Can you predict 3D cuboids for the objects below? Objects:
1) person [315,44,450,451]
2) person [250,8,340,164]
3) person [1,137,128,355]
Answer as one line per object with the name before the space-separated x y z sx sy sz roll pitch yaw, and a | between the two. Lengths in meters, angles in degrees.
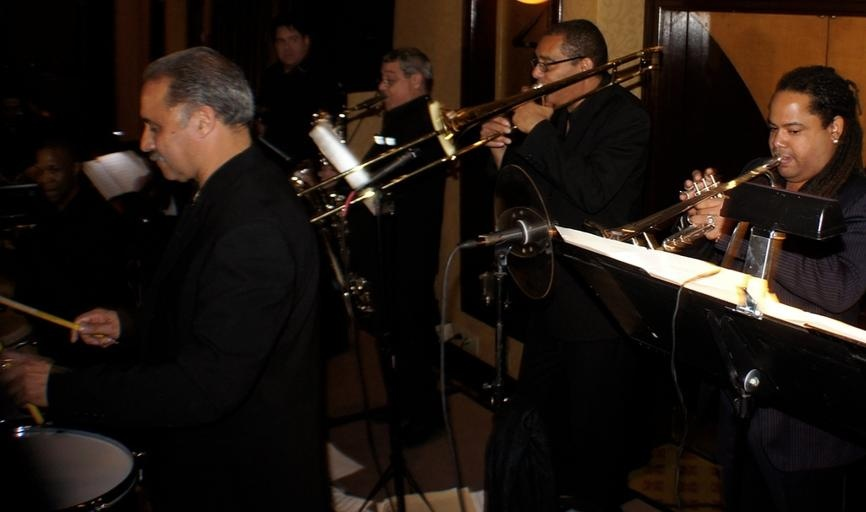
person | -0.191 -0.196 4.568 0.937 2.218 1.066 2 -2 8
person | -0.947 -1.140 4.645 0.577 1.215 0.555 2 1 38
person | -1.906 -0.031 3.976 0.917 1.143 0.717 0 -3 20
